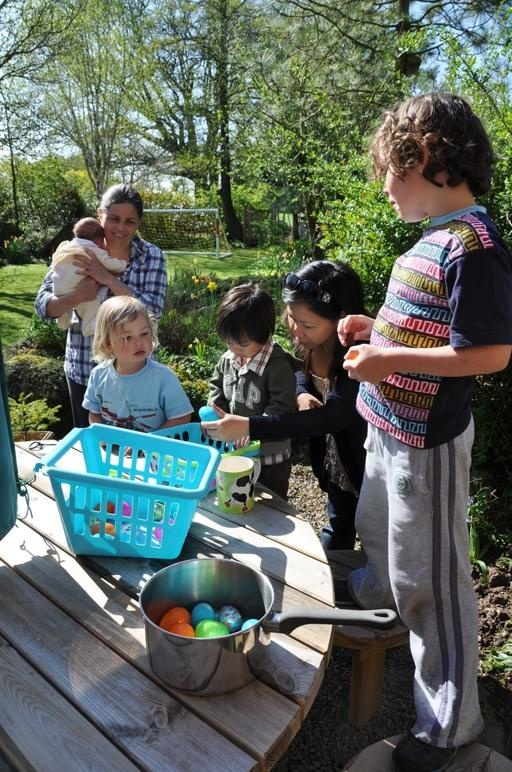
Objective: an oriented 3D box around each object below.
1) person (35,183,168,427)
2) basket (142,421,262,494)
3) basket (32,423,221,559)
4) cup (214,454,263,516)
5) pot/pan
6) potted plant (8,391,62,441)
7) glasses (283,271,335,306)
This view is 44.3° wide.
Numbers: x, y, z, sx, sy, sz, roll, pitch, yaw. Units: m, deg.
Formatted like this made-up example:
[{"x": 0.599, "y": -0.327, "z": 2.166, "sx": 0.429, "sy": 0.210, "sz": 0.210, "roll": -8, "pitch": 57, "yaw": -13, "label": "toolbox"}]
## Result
[{"x": -0.738, "y": -0.140, "z": 3.046, "sx": 0.662, "sy": 1.560, "sz": 0.444, "roll": -7, "pitch": 16, "yaw": -29, "label": "person"}, {"x": -0.164, "y": 0.244, "z": 1.853, "sx": 0.390, "sy": 0.114, "sz": 0.255, "roll": -1, "pitch": -14, "yaw": -3, "label": "basket"}, {"x": -0.284, "y": 0.252, "z": 1.486, "sx": 0.422, "sy": 0.210, "sz": 0.297, "roll": 3, "pitch": 12, "yaw": 3, "label": "basket"}, {"x": -0.053, "y": 0.254, "z": 1.696, "sx": 0.107, "sy": 0.125, "sz": 0.160, "roll": 1, "pitch": 21, "yaw": 0, "label": "cup"}, {"x": 0.006, "y": 0.397, "z": 1.064, "sx": 0.418, "sy": 0.159, "sz": 0.200, "roll": 7, "pitch": 12, "yaw": 11, "label": "pot/pan"}, {"x": -1.225, "y": 0.170, "z": 3.528, "sx": 0.276, "sy": 0.258, "sz": 0.233, "roll": 3, "pitch": -20, "yaw": 3, "label": "potted plant"}, {"x": 0.158, "y": -0.313, "z": 2.000, "sx": 0.106, "sy": 0.039, "sz": 0.123, "roll": 19, "pitch": -5, "yaw": 43, "label": "glasses"}]
